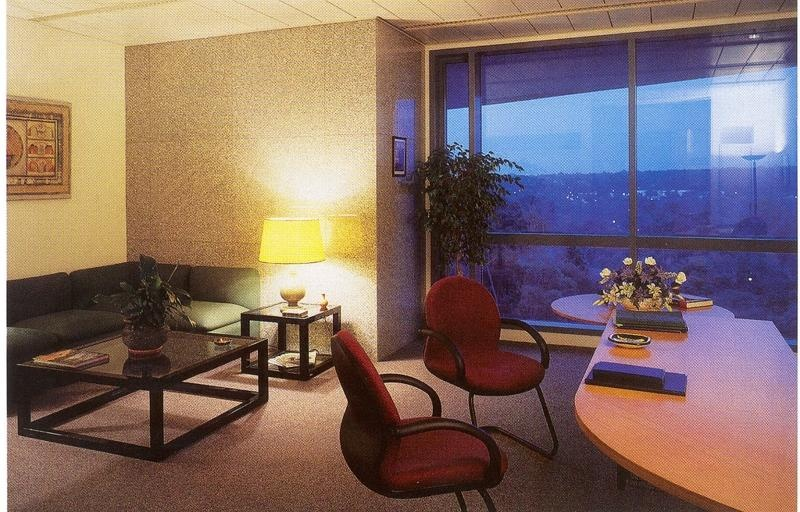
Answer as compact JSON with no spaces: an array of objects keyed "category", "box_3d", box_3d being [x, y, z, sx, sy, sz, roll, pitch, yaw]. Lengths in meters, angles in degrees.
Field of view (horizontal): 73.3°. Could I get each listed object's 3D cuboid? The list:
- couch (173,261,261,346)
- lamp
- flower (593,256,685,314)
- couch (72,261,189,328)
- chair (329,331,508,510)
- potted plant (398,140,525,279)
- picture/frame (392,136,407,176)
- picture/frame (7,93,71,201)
[{"category":"couch","box_3d":[-2.171,0.505,6.043,0.825,0.874,0.816,1,-2,12]},{"category":"lamp","box_3d":[-1.078,0.045,5.653,0.924,1.136,0.914,-3,5,-20]},{"category":"flower","box_3d":[1.939,0.231,4.429,0.619,0.462,0.540,-17,18,-41]},{"category":"couch","box_3d":[-2.564,0.325,4.951,1.352,0.522,0.894,1,4,22]},{"category":"chair","box_3d":[0.099,0.850,3.533,1.126,1.306,0.974,-4,5,-15]},{"category":"potted plant","box_3d":[0.697,-0.608,6.650,1.750,1.869,1.444,4,12,13]},{"category":"picture/frame","box_3d":[-0.017,-1.157,6.179,0.037,0.555,0.497,-1,1,20]},{"category":"picture/frame","box_3d":[-3.885,-1.163,5.843,0.158,1.104,0.821,1,15,23]}]
